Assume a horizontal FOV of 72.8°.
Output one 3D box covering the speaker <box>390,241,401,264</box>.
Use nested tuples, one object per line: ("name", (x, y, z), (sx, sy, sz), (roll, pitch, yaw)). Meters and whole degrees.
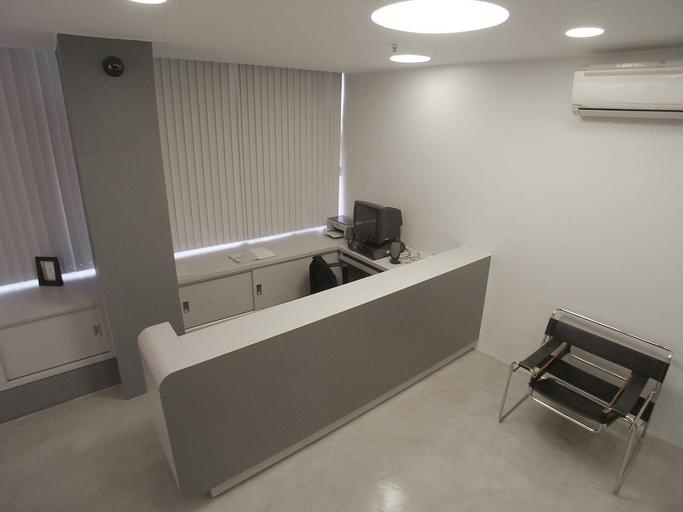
("speaker", (0.582, -0.057, 4.922), (0.113, 0.229, 0.188), (2, 17, 5))

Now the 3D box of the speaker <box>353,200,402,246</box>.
("speaker", (0.388, -0.418, 5.231), (0.436, 0.590, 0.615), (-9, 19, -27))

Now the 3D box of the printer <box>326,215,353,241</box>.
("printer", (-0.020, -0.348, 5.664), (0.323, 0.204, 0.423), (0, 18, -1))

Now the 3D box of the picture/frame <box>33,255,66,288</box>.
("picture/frame", (-2.680, 0.148, 4.242), (0.245, 0.343, 0.094), (1, 7, 1))

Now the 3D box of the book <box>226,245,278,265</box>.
("book", (-0.978, -0.014, 5.052), (0.271, 0.033, 0.262), (-17, 30, -32))
